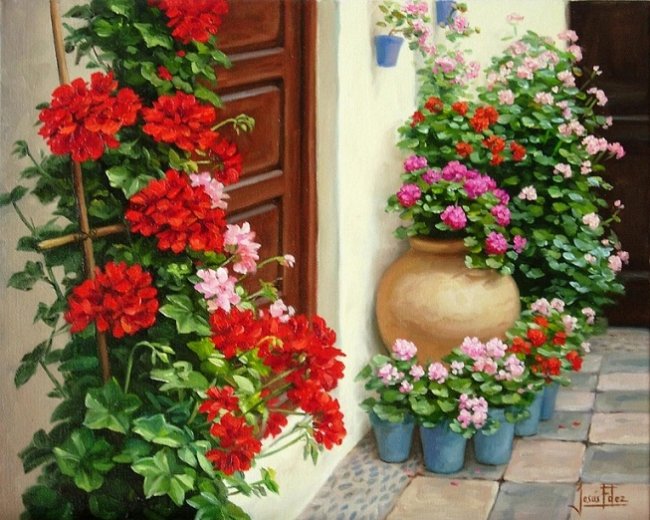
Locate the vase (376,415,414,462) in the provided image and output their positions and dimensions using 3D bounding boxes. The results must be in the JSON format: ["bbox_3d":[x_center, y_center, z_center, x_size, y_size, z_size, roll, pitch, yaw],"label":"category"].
[{"bbox_3d":[0.253,0.815,2.990,0.189,0.154,0.186,-6,-2,36],"label":"vase"}]

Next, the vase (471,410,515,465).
[{"bbox_3d":[0.711,0.765,3.007,0.244,0.260,0.243,0,9,6],"label":"vase"}]

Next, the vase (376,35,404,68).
[{"bbox_3d":[0.291,-0.946,3.016,0.141,0.121,0.139,3,6,5],"label":"vase"}]

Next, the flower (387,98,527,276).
[{"bbox_3d":[0.646,-0.316,3.409,0.844,0.831,0.420,13,-28,-4],"label":"flower"}]

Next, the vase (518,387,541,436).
[{"bbox_3d":[0.983,0.730,3.239,0.146,0.231,0.170,4,3,20],"label":"vase"}]

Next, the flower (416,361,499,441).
[{"bbox_3d":[0.570,0.620,2.866,0.319,0.341,0.308,4,19,29],"label":"flower"}]
